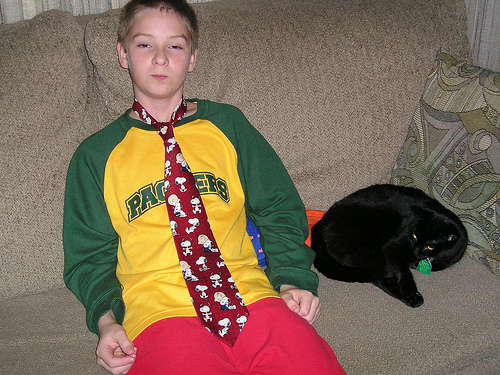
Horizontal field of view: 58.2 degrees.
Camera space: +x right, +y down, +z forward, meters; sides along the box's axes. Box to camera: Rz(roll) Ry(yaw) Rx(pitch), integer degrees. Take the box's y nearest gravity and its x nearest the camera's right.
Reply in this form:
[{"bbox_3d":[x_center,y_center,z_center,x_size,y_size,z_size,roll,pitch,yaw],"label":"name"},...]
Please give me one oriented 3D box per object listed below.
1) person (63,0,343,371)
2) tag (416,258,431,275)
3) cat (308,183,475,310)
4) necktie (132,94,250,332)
[{"bbox_3d":[-0.174,0.107,1.315,0.687,1.241,0.346,-5,-14,-18],"label":"person"},{"bbox_3d":[0.595,0.269,1.541,0.052,0.049,0.013,6,-9,43],"label":"tag"},{"bbox_3d":[0.473,0.189,1.560,0.452,0.160,0.423,7,68,1],"label":"cat"},{"bbox_3d":[-0.158,0.079,1.255,0.151,0.041,0.738,-11,67,-12],"label":"necktie"}]
